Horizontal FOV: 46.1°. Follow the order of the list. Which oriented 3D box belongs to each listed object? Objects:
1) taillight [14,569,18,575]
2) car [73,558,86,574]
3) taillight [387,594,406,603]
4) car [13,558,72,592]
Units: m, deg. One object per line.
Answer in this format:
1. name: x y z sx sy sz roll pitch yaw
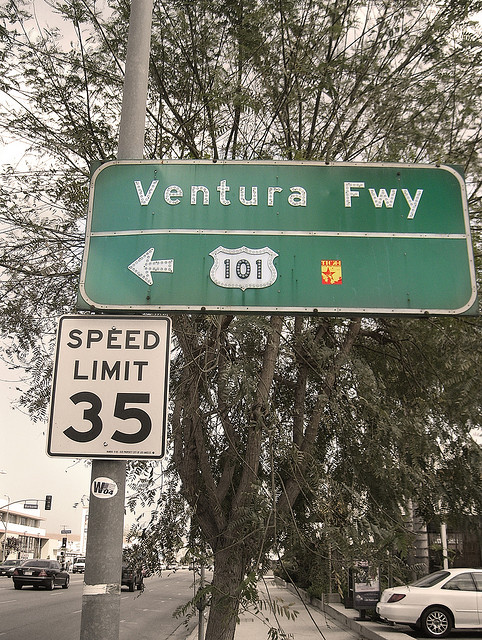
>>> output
1. taillight: -11.773 13.140 29.546 0.114 0.257 0.560 12 -24 -31
2. car: -16.203 24.460 56.483 0.886 1.320 2.812 6 -21 -18
3. taillight: 3.718 6.704 13.660 0.296 0.123 0.219 -20 -10 25
4. car: -10.777 13.798 30.621 1.551 1.518 3.338 -5 -21 13
